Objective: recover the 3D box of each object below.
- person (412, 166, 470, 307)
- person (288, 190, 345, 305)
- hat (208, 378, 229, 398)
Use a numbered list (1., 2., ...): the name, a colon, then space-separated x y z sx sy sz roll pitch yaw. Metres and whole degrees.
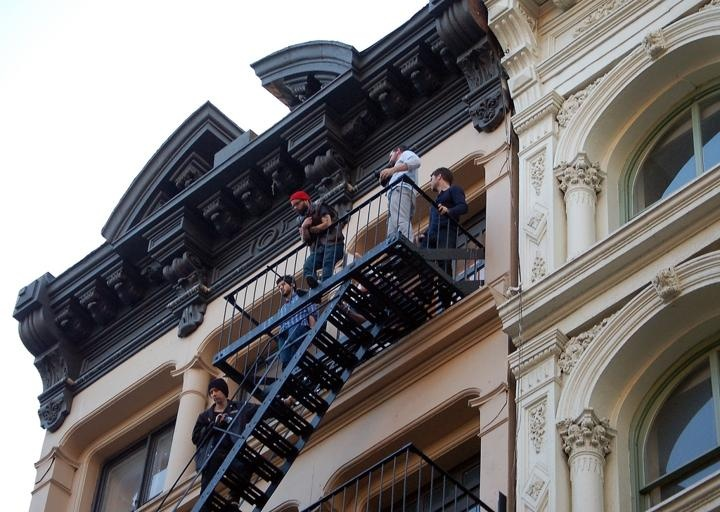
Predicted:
1. person: 1.365 -0.370 27.336 0.964 2.620 0.725 -24 -41 35
2. person: -0.789 -0.168 28.158 1.021 1.947 0.728 16 -31 -29
3. hat: -2.469 2.282 28.252 0.263 0.358 0.363 -3 -33 8
